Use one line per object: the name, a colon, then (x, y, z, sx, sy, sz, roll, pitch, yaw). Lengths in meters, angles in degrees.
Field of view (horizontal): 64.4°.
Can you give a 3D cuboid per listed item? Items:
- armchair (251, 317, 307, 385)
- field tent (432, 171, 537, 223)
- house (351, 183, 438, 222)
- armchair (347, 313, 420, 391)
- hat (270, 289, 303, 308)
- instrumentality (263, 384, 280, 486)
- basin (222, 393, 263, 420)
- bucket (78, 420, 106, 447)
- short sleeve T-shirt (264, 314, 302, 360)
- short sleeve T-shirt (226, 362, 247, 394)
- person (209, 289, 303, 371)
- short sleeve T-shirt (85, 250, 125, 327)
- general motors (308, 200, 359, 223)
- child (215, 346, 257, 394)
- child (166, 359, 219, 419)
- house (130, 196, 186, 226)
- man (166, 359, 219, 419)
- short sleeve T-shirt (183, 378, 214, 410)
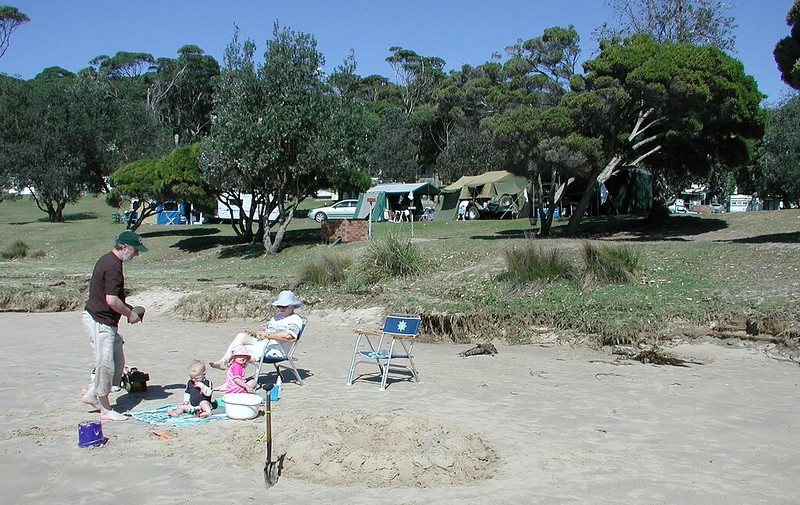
armchair: (-2.252, 1.818, 11.960, 0.824, 1.194, 0.845, 2, -2, -15)
field tent: (5.667, -3.821, 43.604, 3.532, 2.125, 4.977, -1, 2, -33)
house: (-0.471, -3.562, 44.051, 4.790, 2.449, 4.608, -4, 10, -16)
armchair: (-0.264, 1.830, 11.968, 1.289, 1.312, 1.089, 3, -2, -42)
hat: (-2.106, 0.915, 12.163, 0.569, 0.274, 0.638, 1, -8, 4)
instrumentality: (-1.861, 2.519, 9.075, 0.230, 1.179, 1.067, -3, 10, -12)
basin: (-2.506, 2.449, 10.194, 0.637, 0.393, 0.276, 0, 10, 7)
bucket: (-4.594, 2.674, 9.450, 0.374, 0.347, 0.307, -6, 11, -24)
short sleeve T-shirt: (-2.122, 1.560, 11.786, 0.644, 0.757, 0.764, -11, -16, 42)
short sleeve T-shirt: (-2.779, 2.136, 10.786, 0.329, 0.592, 0.489, 1, 2, -31)
person: (-2.592, 1.430, 11.653, 1.802, 1.320, 1.072, -4, 8, -44)
short sleeve T-shirt: (-4.655, 0.601, 10.069, 0.568, 1.179, 0.515, -9, 13, -38)
general motors: (-5.163, -3.271, 47.519, 4.004, 1.419, 1.894, 1, 0, 5)
child: (-2.720, 2.042, 10.934, 0.497, 0.892, 0.498, 3, -1, -11)
child: (-3.413, 2.259, 10.478, 0.657, 0.876, 0.725, 1, 3, 33)
house: (-18.555, -3.230, 48.671, 3.852, 2.325, 3.961, 1, -4, -10)
man: (-3.265, 2.294, 10.772, 0.743, 1.052, 0.831, -1, -6, 12)
short sleeve T-shirt: (-3.305, 2.336, 10.632, 0.539, 0.542, 0.400, 4, -40, -12)
